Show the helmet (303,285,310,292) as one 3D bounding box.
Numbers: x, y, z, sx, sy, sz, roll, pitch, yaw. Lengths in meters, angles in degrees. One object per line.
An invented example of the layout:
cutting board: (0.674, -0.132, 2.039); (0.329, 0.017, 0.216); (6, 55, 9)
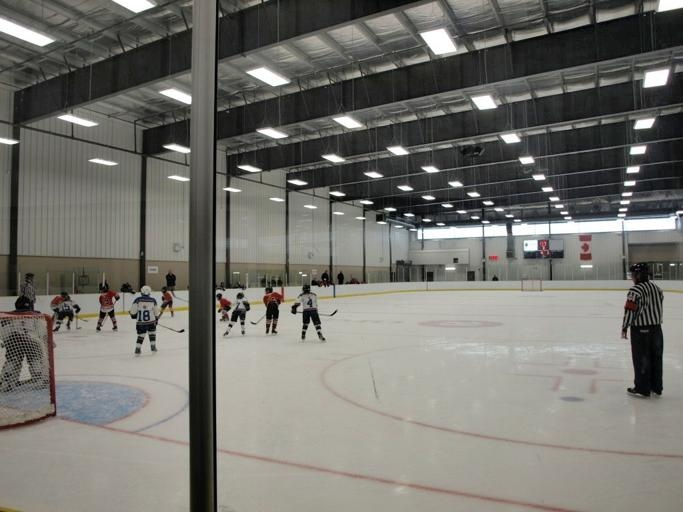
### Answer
helmet: (-0.659, 0.617, 10.778); (0.102, 0.142, 0.139); (-1, -4, -1)

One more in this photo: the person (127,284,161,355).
person: (-3.258, 1.079, 9.554); (0.402, 1.244, 1.037); (-2, 7, -20)

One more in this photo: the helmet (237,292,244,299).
helmet: (-1.986, 0.779, 11.294); (0.121, 0.138, 0.147); (-1, -7, 0)

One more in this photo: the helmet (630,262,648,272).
helmet: (3.373, 0.133, 6.559); (0.131, 0.165, 0.165); (0, 9, -44)

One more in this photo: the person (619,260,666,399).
person: (3.398, 0.882, 6.512); (0.415, 1.564, 0.400); (4, 7, 31)

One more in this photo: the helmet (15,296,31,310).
helmet: (-3.808, 0.571, 6.916); (0.141, 0.179, 0.173); (2, -6, -42)
